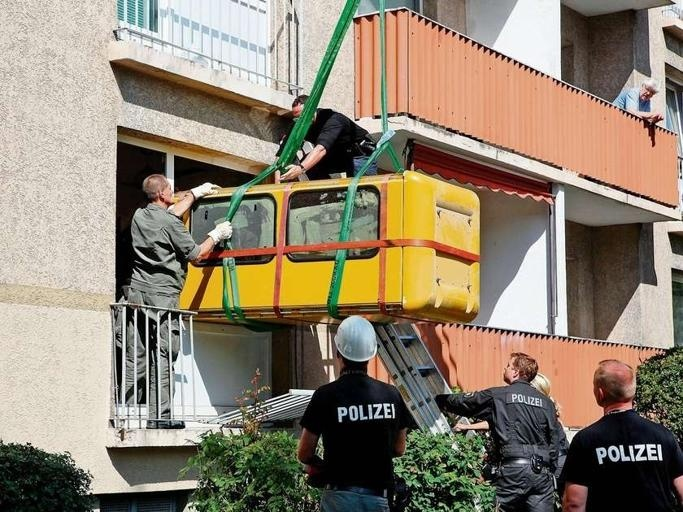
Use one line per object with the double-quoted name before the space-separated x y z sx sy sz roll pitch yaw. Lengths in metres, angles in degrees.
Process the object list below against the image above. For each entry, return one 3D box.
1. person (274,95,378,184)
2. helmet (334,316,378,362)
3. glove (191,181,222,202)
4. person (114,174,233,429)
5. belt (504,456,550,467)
"person" -0.214 -1.216 18.278 0.605 0.963 1.178 -12 -16 35
"helmet" 0.115 0.726 14.623 0.333 0.402 0.209 -1 -48 -19
"glove" -1.446 -0.674 17.515 0.269 0.158 0.079 -20 -47 6
"person" -1.887 0.465 17.125 1.072 2.524 0.795 -12 -16 36
"belt" 1.862 2.080 16.839 0.441 0.106 0.092 -2 -13 -3
